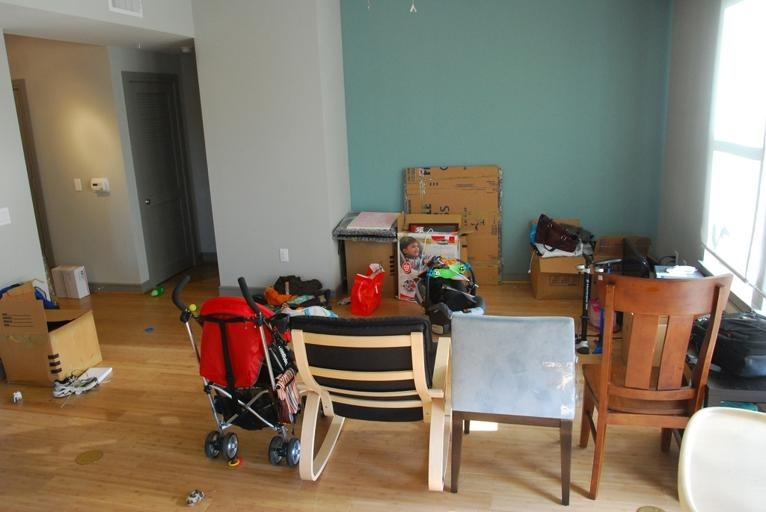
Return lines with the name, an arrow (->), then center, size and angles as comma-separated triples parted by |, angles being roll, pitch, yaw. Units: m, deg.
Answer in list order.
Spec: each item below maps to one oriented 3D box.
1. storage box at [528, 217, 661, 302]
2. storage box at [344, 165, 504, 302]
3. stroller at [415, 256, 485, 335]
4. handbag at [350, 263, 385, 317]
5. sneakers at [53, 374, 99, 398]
storage box -> 2.087, 0.205, 6.034 | 0.992, 0.624, 0.993 | 1, 19, 7
storage box -> 0.529, -0.215, 6.465 | 1.686, 1.544, 0.409 | 1, -2, 6
stroller -> 0.770, 0.401, 5.699 | 0.583, 0.686, 0.736 | 3, 1, -22
handbag -> -0.147, 0.388, 6.257 | 0.324, 0.568, 0.484 | 18, 8, 20
sneakers -> -2.730, 1.140, 5.141 | 0.362, 0.155, 0.155 | -4, 8, -37
